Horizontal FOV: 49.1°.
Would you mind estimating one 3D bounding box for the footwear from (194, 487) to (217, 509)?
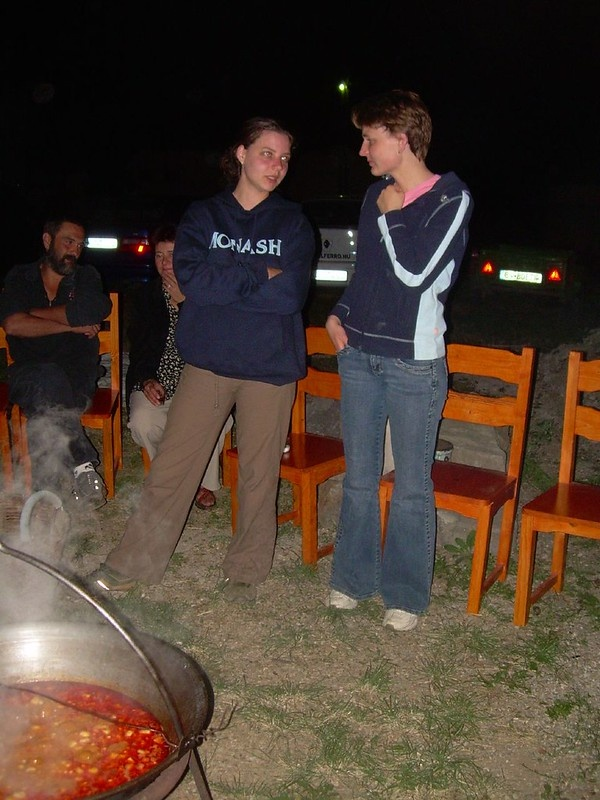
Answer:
[{"bbox_3d":[-0.543,0.575,3.825,0.079,0.059,0.141,-7,20,-24],"label":"footwear"}]

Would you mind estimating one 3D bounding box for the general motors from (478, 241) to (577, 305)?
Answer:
[{"bbox_3d":[3.505,-1.967,10.295,1.442,0.819,1.037,7,15,26],"label":"general motors"}]

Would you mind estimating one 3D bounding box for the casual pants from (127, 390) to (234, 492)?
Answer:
[{"bbox_3d":[-0.560,0.187,3.141,0.491,0.549,0.363,12,8,3],"label":"casual pants"}]

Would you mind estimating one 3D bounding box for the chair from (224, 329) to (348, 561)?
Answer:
[{"bbox_3d":[-0.002,0.223,3.325,0.664,1.119,0.673,5,11,17],"label":"chair"}]

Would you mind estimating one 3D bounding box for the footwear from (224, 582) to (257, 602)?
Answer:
[{"bbox_3d":[-0.250,0.812,2.825,0.102,0.093,0.027,-1,-10,-6],"label":"footwear"}]

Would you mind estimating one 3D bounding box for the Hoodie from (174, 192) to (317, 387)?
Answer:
[{"bbox_3d":[-0.211,-0.432,2.638,0.567,0.764,0.304,-2,14,-11],"label":"Hoodie"}]

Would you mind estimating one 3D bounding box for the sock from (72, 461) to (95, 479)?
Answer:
[{"bbox_3d":[-1.162,0.372,3.554,0.105,0.080,0.080,-2,-7,6],"label":"sock"}]

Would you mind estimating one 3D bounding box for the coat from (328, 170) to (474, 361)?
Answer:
[{"bbox_3d":[0.350,-0.478,2.394,0.501,0.646,0.361,6,15,22],"label":"coat"}]

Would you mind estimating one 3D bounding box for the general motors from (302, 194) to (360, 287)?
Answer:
[{"bbox_3d":[0.405,-1.946,8.028,0.739,0.595,1.307,4,26,10],"label":"general motors"}]

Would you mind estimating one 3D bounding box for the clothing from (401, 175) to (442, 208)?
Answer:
[{"bbox_3d":[0.420,-0.725,2.342,0.069,0.132,0.098,43,5,-10],"label":"clothing"}]
